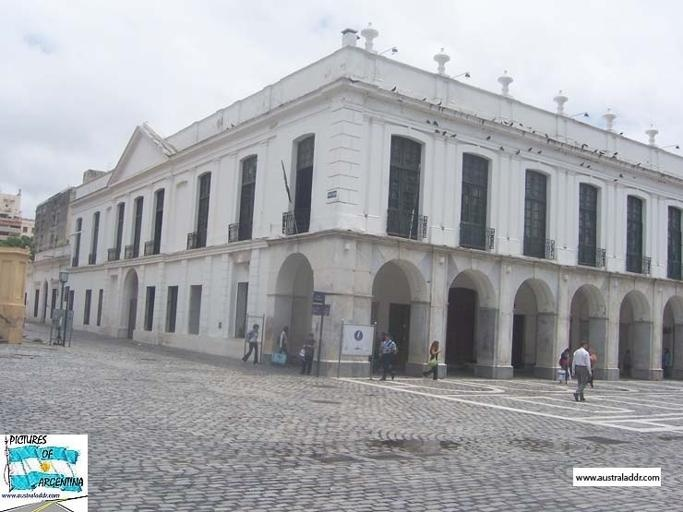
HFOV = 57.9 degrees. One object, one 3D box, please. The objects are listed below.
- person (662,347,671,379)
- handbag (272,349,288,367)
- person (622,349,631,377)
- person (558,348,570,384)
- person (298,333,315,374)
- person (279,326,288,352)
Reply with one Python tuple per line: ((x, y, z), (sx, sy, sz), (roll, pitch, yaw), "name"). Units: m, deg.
((18.274, 5.946, 34.544), (0.472, 1.635, 0.790), (-3, -11, 30), "person")
((-2.570, 4.195, 25.324), (0.492, 0.548, 0.835), (6, -10, -21), "handbag")
((15.445, 5.750, 33.440), (0.593, 1.502, 1.055), (-2, -10, 25), "person")
((9.470, 4.657, 26.136), (0.358, 1.433, 1.358), (-1, -10, 19), "person")
((-1.257, 3.568, 22.755), (0.534, 1.517, 0.985), (2, -9, -3), "person")
((-2.431, 3.413, 25.541), (0.379, 1.091, 1.493), (3, -9, -5), "person")
